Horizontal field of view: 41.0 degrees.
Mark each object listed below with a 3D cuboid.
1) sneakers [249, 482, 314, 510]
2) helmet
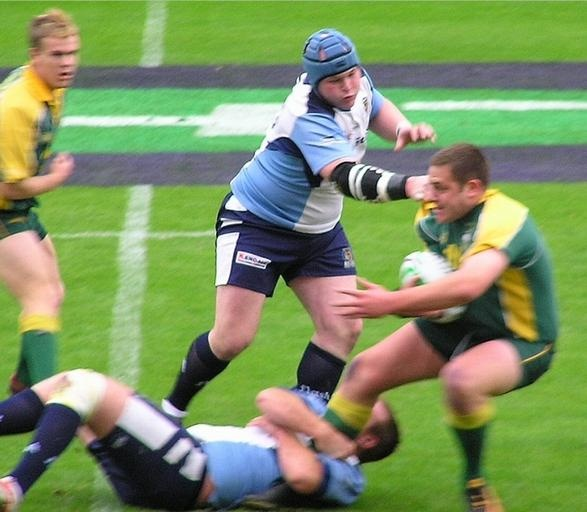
[{"bbox_3d":[-0.055,1.080,3.512,0.223,0.049,0.146,4,-6,-31],"label":"sneakers"},{"bbox_3d":[0.146,-1.015,3.897,0.306,0.259,0.289,-12,41,-6],"label":"helmet"}]
